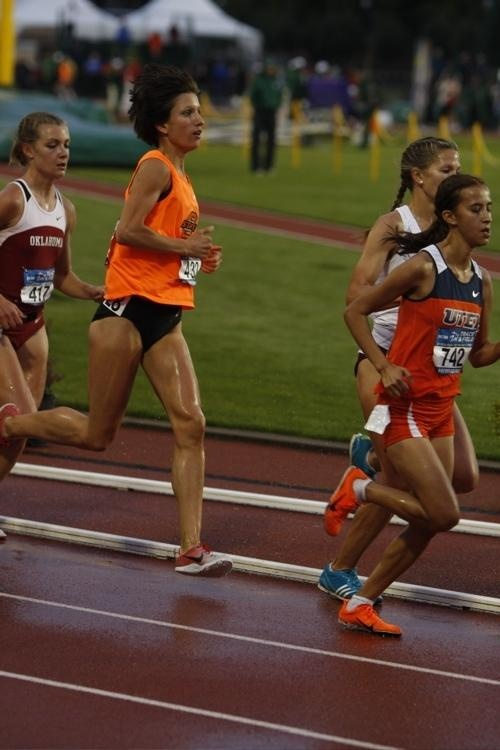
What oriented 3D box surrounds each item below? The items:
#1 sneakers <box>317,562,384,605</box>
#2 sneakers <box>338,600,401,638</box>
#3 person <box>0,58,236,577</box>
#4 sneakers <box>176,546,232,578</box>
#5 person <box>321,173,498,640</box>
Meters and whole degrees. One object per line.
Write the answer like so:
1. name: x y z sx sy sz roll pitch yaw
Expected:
1. sneakers: 0.358 0.803 3.040 0.305 0.126 0.111 5 11 43
2. sneakers: 0.412 0.862 2.746 0.269 0.112 0.092 6 2 19
3. person: -0.405 -0.197 2.939 0.858 1.949 0.494 5 5 6
4. sneakers: -0.173 0.692 2.845 0.231 0.091 0.102 -5 53 12
5. person: 0.557 0.127 2.642 0.542 1.611 0.540 4 5 -8
